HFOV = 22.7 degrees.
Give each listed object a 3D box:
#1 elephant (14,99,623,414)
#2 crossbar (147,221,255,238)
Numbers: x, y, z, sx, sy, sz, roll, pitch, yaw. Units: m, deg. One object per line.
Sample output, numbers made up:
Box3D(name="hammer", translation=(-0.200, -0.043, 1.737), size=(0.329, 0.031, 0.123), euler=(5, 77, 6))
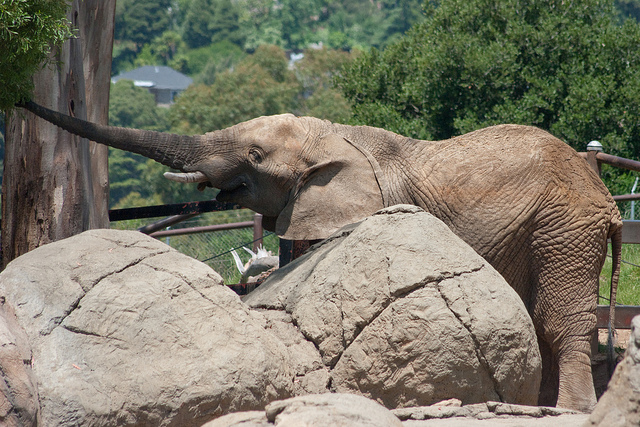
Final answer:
Box3D(name="elephant", translation=(0.253, 0.714, 31.809), size=(11.486, 5.284, 3.528), euler=(3, 15, 3))
Box3D(name="crossbar", translation=(-2.657, 0.350, 35.953), size=(2.889, 0.260, 0.252), euler=(-4, -11, -8))
